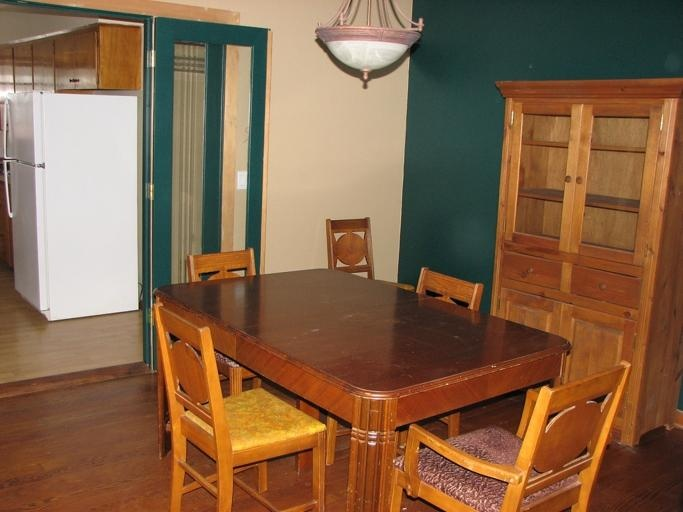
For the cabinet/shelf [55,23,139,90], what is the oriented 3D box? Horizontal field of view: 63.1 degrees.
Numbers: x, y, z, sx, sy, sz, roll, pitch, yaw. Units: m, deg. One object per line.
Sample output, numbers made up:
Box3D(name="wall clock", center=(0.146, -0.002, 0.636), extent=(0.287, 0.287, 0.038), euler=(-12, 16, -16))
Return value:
Box3D(name="cabinet/shelf", center=(-2.774, -2.008, 5.821), extent=(1.457, 0.617, 0.495), euler=(6, 13, 30))
